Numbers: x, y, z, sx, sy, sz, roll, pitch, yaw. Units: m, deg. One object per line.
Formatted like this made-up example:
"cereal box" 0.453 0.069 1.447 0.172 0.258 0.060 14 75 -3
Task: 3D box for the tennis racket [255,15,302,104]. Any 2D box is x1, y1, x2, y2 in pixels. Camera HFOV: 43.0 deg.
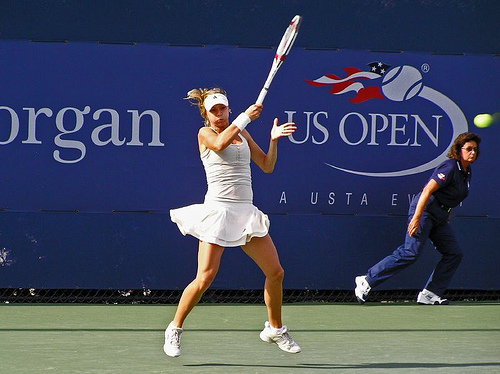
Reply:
"tennis racket" 0.203 -1.120 5.638 0.454 0.862 0.412 3 14 0

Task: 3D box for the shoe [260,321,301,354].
"shoe" 0.261 1.309 5.449 0.354 0.295 0.163 3 12 2

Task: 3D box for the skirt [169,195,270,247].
"skirt" -0.258 0.278 5.403 0.828 0.391 0.335 1 12 -7

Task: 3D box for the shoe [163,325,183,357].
"shoe" -0.639 1.280 5.254 0.134 0.297 0.239 1 12 -7

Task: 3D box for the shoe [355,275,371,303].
"shoe" 1.305 1.155 7.324 0.170 0.316 0.134 -6 -4 12

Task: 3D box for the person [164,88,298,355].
"person" -0.185 0.367 5.493 1.041 2.379 0.959 1 12 -7

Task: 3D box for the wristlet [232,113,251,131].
"wristlet" -0.073 -0.547 5.287 0.115 0.139 0.053 38 -4 0

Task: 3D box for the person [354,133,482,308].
"person" 2.002 0.378 7.321 1.201 2.025 0.329 -1 13 -17
